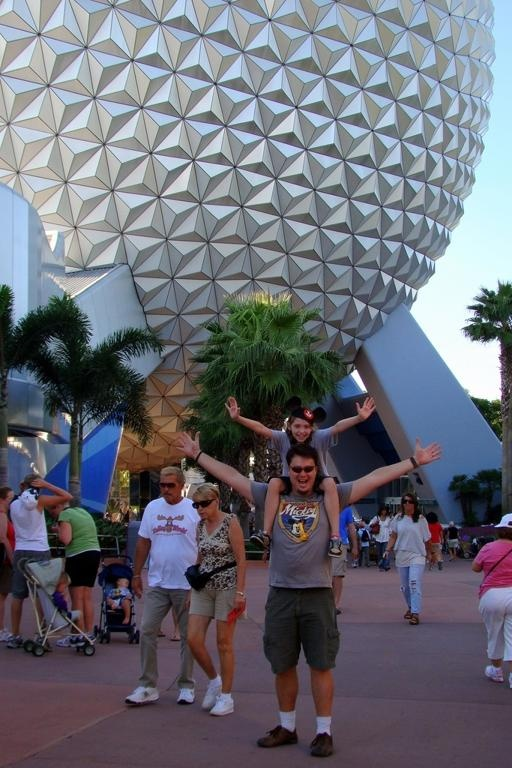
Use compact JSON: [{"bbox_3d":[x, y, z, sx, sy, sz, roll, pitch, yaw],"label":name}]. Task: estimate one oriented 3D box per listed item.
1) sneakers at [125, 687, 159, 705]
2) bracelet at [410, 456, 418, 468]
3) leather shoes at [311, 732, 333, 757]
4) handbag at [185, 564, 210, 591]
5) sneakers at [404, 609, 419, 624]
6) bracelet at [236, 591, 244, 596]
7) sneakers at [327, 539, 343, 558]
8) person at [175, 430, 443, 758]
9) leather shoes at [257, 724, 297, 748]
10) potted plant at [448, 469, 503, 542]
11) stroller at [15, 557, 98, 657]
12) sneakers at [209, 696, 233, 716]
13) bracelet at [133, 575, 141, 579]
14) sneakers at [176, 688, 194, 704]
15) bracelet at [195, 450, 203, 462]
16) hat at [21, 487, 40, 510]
[{"bbox_3d":[-0.588,1.628,2.984,0.185,0.088,0.079,1,0,-3],"label":"sneakers"},{"bbox_3d":[0.696,0.338,2.532,0.013,0.046,0.048,-30,23,-5],"label":"bracelet"},{"bbox_3d":[0.238,1.318,2.102,0.086,0.067,0.126,0,-9,7],"label":"leather shoes"},{"bbox_3d":[-0.318,1.015,3.044,0.094,0.132,0.050,-19,6,-34],"label":"handbag"},{"bbox_3d":[1.721,2.590,6.376,0.082,0.104,0.246,-2,-29,6],"label":"sneakers"},{"bbox_3d":[-0.083,1.078,2.952,0.031,0.014,0.033,33,-12,-21],"label":"bracelet"},{"bbox_3d":[0.305,0.630,2.240,0.045,0.083,0.141,0,-9,4],"label":"sneakers"},{"bbox_3d":[0.191,0.875,2.419,0.993,1.223,0.520,-3,-10,25],"label":"person"},{"bbox_3d":[0.084,1.365,2.254,0.185,0.084,0.064,4,-9,-8],"label":"leather shoes"},{"bbox_3d":[9.399,4.768,25.202,1.798,2.641,2.603,5,-1,34],"label":"potted plant"},{"bbox_3d":[-1.777,1.961,5.154,0.621,0.854,0.941,4,-9,-20],"label":"stroller"},{"bbox_3d":[-0.166,1.579,2.845,0.055,0.071,0.161,2,-26,21],"label":"sneakers"},{"bbox_3d":[-0.730,1.169,3.516,0.030,0.029,0.028,-9,-7,30],"label":"bracelet"},{"bbox_3d":[-0.383,1.696,3.138,0.053,0.048,0.111,0,-18,-2],"label":"sneakers"},{"bbox_3d":[-0.270,0.333,2.693,0.018,0.066,0.068,13,-3,4],"label":"bracelet"},{"bbox_3d":[-1.992,1.000,5.051,0.148,0.182,0.156,4,-10,-22],"label":"hat"}]
